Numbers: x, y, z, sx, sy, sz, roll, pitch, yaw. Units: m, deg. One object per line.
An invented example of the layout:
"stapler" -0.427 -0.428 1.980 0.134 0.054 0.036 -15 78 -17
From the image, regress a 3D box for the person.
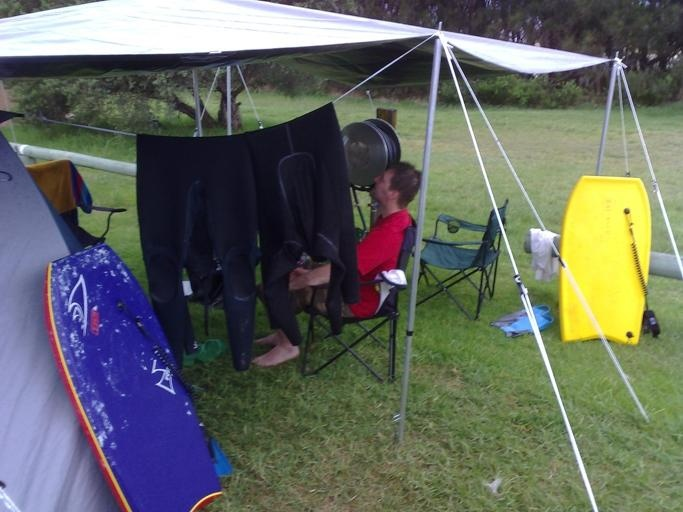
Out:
"person" -0.023 0.055 4.238 0.828 1.444 0.613 9 12 -9
